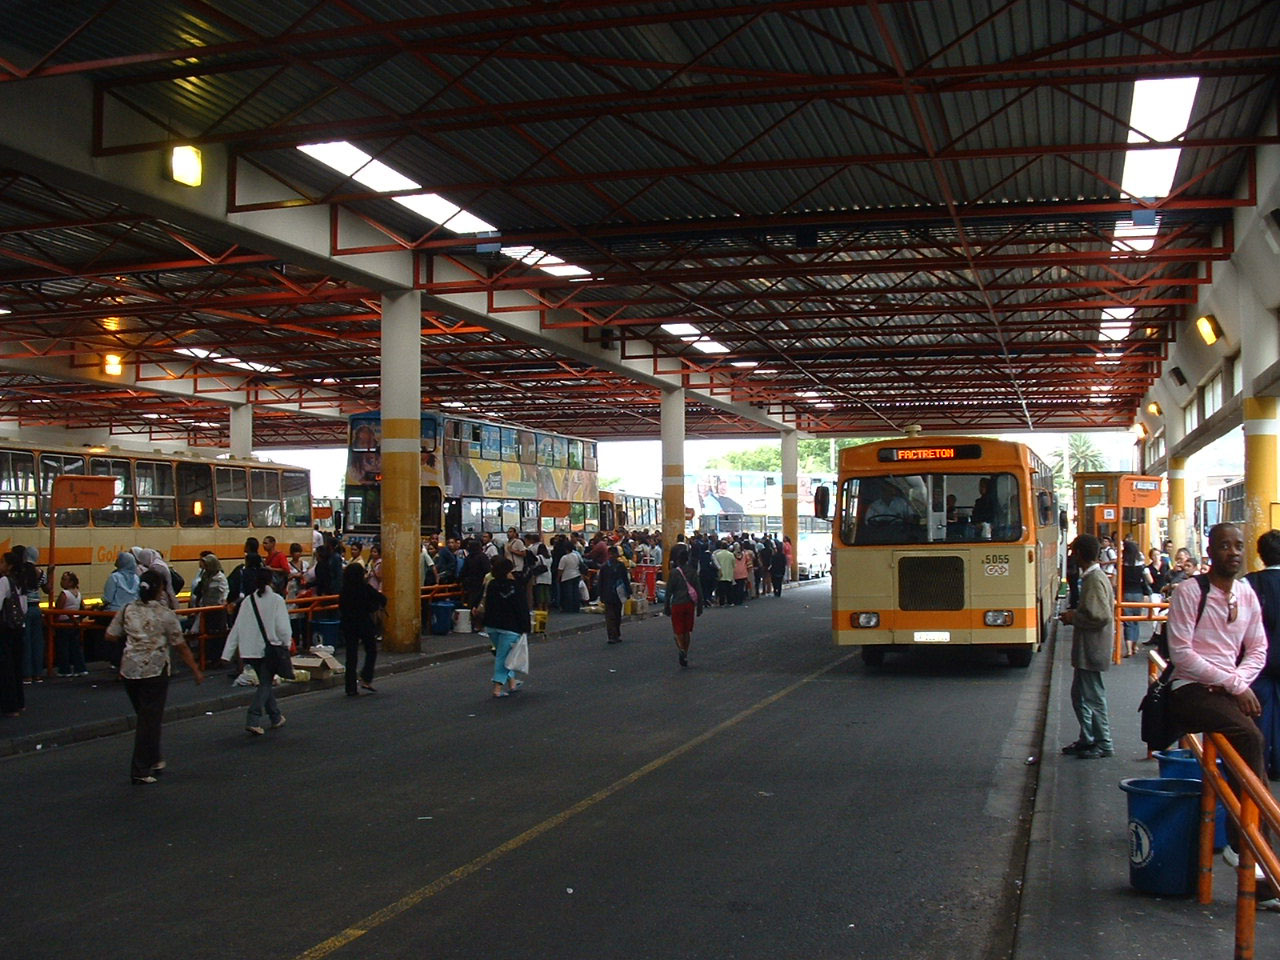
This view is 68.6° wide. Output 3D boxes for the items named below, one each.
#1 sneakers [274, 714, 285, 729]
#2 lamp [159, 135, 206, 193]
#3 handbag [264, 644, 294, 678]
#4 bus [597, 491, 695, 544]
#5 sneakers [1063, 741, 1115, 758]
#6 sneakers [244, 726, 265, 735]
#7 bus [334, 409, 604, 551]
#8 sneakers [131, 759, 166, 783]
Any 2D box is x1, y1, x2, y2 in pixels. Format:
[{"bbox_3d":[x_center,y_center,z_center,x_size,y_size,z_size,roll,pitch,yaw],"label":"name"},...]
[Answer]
[{"bbox_3d":[-5.303,3.553,13.868,0.083,0.204,0.143,27,-40,-16],"label":"sneakers"},{"bbox_3d":[-8.490,-5.989,17.673,0.264,0.864,0.906,-1,-4,8],"label":"lamp"},{"bbox_3d":[-5.050,2.567,13.255,0.395,0.494,0.324,-1,-3,-2],"label":"handbag"},{"bbox_3d":[0.046,1.866,54.569,2.317,1.809,7.460,-3,-6,12],"label":"bus"},{"bbox_3d":[5.146,3.101,10.743,0.514,0.196,0.186,-6,-2,29],"label":"sneakers"},{"bbox_3d":[-5.473,3.593,13.477,0.335,0.123,0.105,-3,0,10],"label":"sneakers"},{"bbox_3d":[-6.850,0.146,40.235,4.304,4.658,18.221,-1,-5,24],"label":"bus"},{"bbox_3d":[-5.675,3.373,10.786,0.397,0.245,0.125,3,-1,18],"label":"sneakers"}]
